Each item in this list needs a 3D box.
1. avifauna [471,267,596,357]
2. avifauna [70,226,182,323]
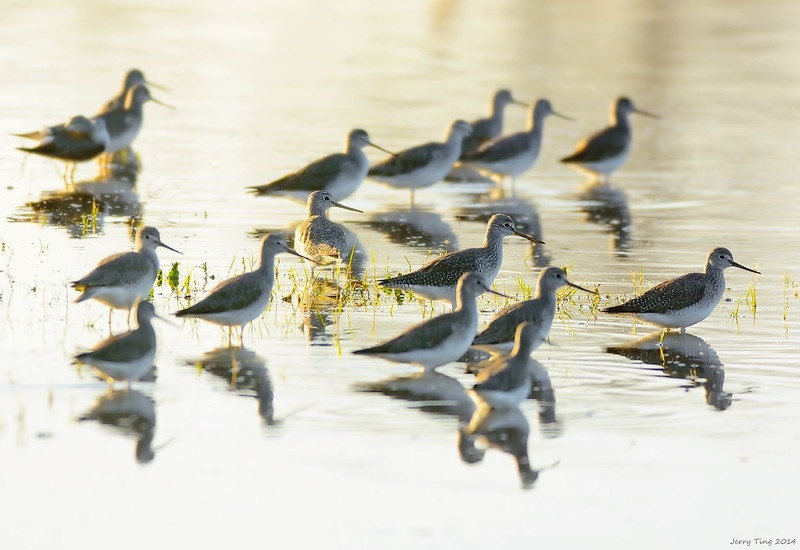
[{"bbox_3d":[1.654,0.550,12.115,1.964,1.399,0.654,-6,27,-26],"label":"avifauna"},{"bbox_3d":[-3.981,0.000,12.998,1.568,1.312,0.632,-5,0,-42],"label":"avifauna"}]
